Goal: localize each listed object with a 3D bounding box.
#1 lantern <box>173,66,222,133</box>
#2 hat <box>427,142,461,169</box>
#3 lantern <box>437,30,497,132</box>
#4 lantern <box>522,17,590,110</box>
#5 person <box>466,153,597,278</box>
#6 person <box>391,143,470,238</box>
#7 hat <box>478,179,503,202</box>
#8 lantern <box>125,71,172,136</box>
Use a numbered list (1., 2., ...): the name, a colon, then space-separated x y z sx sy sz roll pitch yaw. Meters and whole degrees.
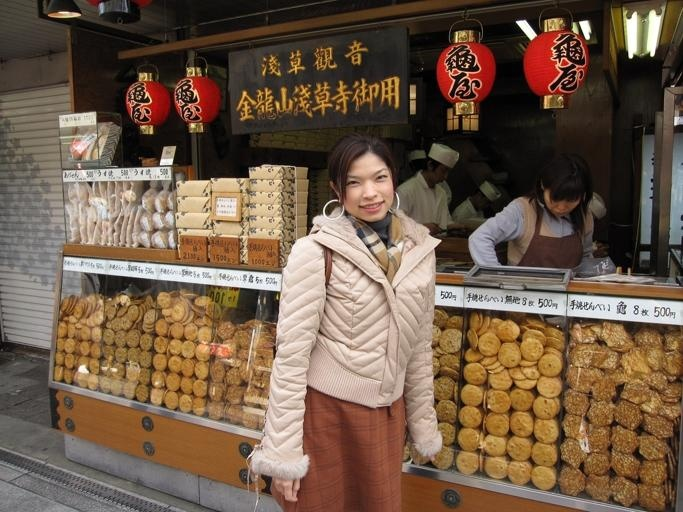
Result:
1. lantern: -1.426 -1.526 5.170 0.443 0.640 0.458 -4 4 -15
2. hat: 1.307 -1.316 6.825 0.349 0.232 0.362 23 14 17
3. lantern: 1.005 -1.421 4.245 0.428 0.767 0.432 -3 5 -33
4. lantern: 1.649 -1.477 4.063 0.466 0.693 0.479 1 1 27
5. person: 1.506 -0.275 4.088 0.565 0.983 0.828 -2 11 -27
6. person: 1.168 -0.433 7.185 1.017 2.093 0.656 -5 10 -42
7. hat: 2.475 -1.092 8.809 0.316 0.258 0.435 38 15 -1
8. lantern: -1.941 -1.523 5.369 0.381 0.688 0.333 5 10 17
